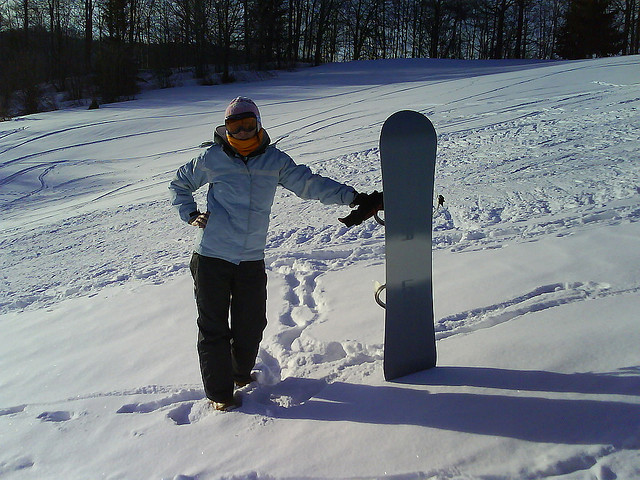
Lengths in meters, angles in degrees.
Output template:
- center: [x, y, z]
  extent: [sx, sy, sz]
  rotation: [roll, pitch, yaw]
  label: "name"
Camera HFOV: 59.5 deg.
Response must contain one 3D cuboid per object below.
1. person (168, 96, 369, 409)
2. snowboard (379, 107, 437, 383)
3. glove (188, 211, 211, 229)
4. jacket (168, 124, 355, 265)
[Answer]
- center: [-0.561, 0.052, 4.833]
  extent: [1.137, 2.485, 1.005]
  rotation: [-8, 19, -21]
  label: "person"
- center: [0.737, -0.003, 4.563]
  extent: [0.547, 2.125, 0.082]
  rotation: [-7, -11, 40]
  label: "snowboard"
- center: [-1.004, -0.173, 4.764]
  extent: [0.155, 0.049, 0.160]
  rotation: [-47, 40, -19]
  label: "glove"
- center: [-0.535, -0.402, 4.851]
  extent: [1.972, 1.072, 0.397]
  rotation: [7, 7, 19]
  label: "jacket"
